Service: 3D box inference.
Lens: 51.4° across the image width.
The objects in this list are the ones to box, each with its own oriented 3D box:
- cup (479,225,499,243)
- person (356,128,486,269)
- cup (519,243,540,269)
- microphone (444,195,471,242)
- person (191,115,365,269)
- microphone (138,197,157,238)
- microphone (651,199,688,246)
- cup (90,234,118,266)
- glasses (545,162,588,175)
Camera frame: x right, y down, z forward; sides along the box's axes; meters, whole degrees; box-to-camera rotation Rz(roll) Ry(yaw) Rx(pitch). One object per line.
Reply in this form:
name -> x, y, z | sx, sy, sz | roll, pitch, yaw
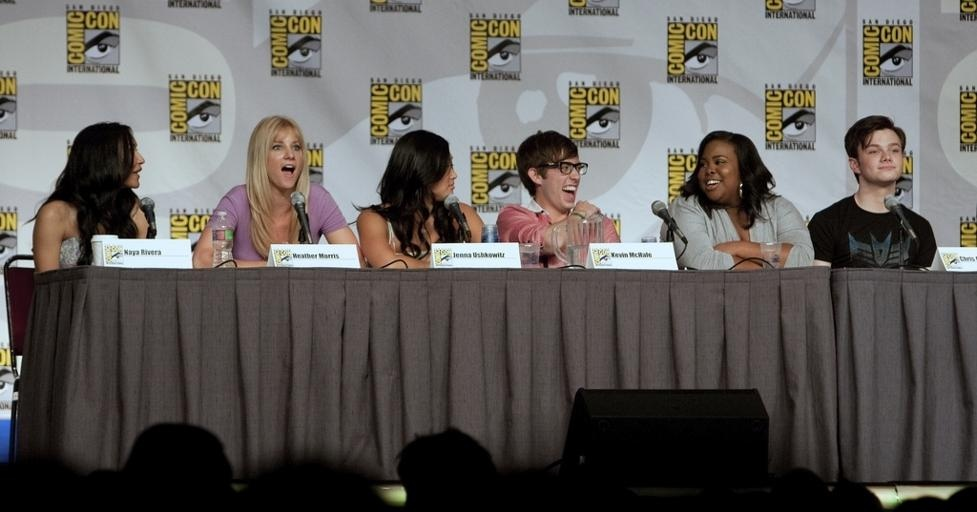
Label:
cup -> 0.006, -0.143, 6.902 | 0.122, 0.167, 0.116 | 0, 2, 0
person -> -0.623, -0.438, 7.730 | 0.662, 0.991, 0.391 | 1, 0, -31
cup -> 0.264, 0.013, 6.806 | 0.170, 0.148, 0.155 | -1, -5, 0
microphone -> -0.203, -0.285, 6.987 | 0.121, 0.131, 0.423 | -6, 32, -20
person -> -1.763, -0.469, 8.372 | 1.797, 1.297, 1.183 | -1, 1, -28
microphone -> -2.489, -0.268, 7.326 | 0.111, 0.312, 0.101 | -23, -20, 6
microphone -> 1.370, -0.257, 7.606 | 0.128, 0.126, 0.460 | -27, 53, -26
cup -> -2.551, -0.036, 6.612 | 0.213, 0.182, 0.194 | 0, -7, 0
glasses -> 0.593, -0.668, 7.741 | 0.321, 0.093, 0.073 | 0, 0, -18
